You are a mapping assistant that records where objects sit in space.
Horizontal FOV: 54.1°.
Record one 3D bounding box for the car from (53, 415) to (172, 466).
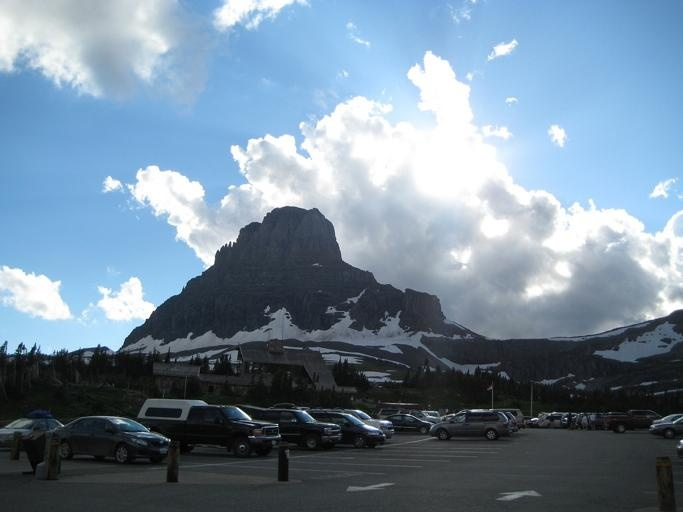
[{"bbox_3d":[-11.005,8.762,32.125,5.436,2.458,1.247,-14,-22,20],"label":"car"}]
